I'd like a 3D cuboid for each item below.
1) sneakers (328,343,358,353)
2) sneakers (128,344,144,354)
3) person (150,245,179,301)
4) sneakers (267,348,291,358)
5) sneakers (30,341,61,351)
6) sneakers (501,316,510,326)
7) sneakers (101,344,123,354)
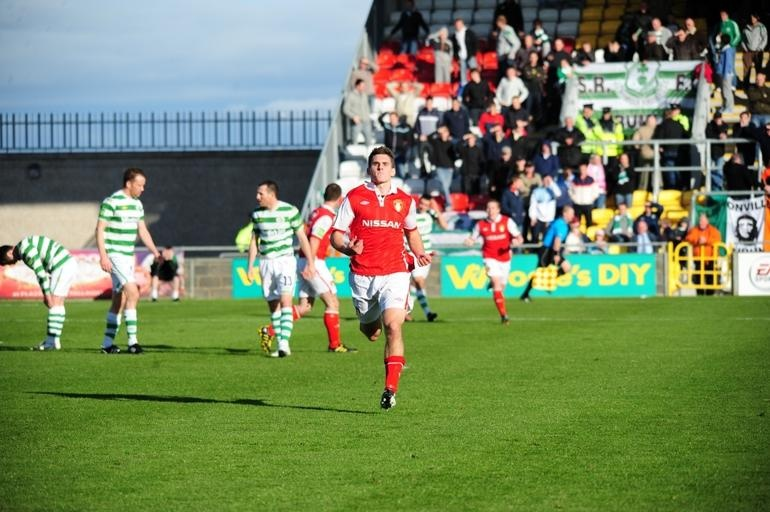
[{"bbox_3d":[-0.885,1.906,32.048,0.610,0.247,0.218,-2,0,-2],"label":"sneakers"},{"bbox_3d":[-5.200,1.949,31.753,0.139,0.225,0.411,1,0,-19],"label":"sneakers"},{"bbox_3d":[-6.221,0.565,43.014,0.854,1.823,1.209,3,-40,-11],"label":"person"},{"bbox_3d":[-2.192,2.038,31.673,0.497,0.233,0.176,8,13,0],"label":"sneakers"},{"bbox_3d":[-7.198,1.934,32.405,0.589,0.274,0.210,7,4,-3],"label":"sneakers"},{"bbox_3d":[2.762,1.510,35.013,0.112,0.219,0.150,-2,41,-4],"label":"sneakers"},{"bbox_3d":[-5.701,1.931,31.919,0.454,0.176,0.204,-3,-35,-4],"label":"sneakers"}]
